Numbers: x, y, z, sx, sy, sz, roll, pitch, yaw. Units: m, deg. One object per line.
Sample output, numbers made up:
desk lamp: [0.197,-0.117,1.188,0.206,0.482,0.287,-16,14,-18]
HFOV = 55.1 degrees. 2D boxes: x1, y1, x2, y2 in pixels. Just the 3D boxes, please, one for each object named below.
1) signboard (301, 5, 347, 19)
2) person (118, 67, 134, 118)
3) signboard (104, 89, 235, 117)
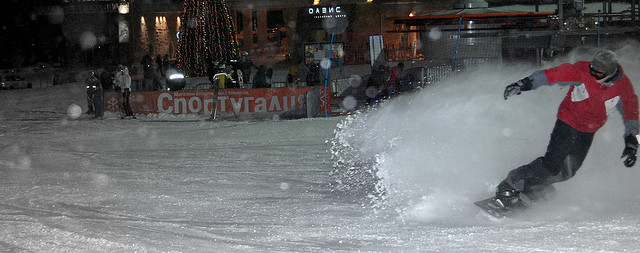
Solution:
signboard: [0.491,-11.181,59.914,4.394,1.423,5.488,-3,7,-4]
person: [-11.869,-2.075,37.542,0.707,3.021,1.166,-7,10,-16]
signboard: [-8.893,-1.470,37.876,8.818,1.662,0.065,-2,-3,-37]
